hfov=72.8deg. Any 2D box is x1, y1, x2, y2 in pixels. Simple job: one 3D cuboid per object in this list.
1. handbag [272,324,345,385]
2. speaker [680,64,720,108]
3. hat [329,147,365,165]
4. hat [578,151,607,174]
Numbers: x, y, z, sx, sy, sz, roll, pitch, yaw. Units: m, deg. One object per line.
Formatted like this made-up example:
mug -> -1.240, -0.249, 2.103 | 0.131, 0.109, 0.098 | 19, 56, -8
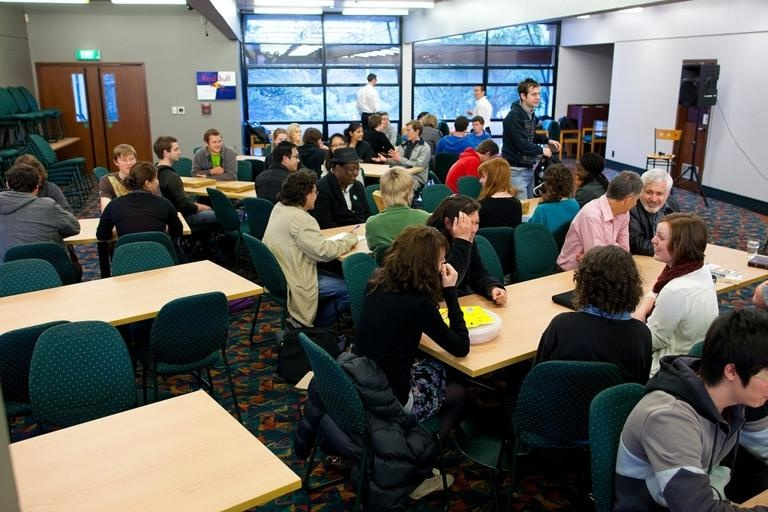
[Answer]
handbag -> -0.448, 0.706, 3.769 | 0.263, 0.334, 0.356 | 17, -25, 4
speaker -> 5.697, -3.061, 9.367 | 0.554, 0.650, 0.556 | -1, 9, 7
hat -> -0.424, -0.985, 5.167 | 0.204, 0.096, 0.238 | -7, 8, -40
hat -> 2.109, -0.924, 5.185 | 0.191, 0.243, 0.247 | -1, 11, -1
